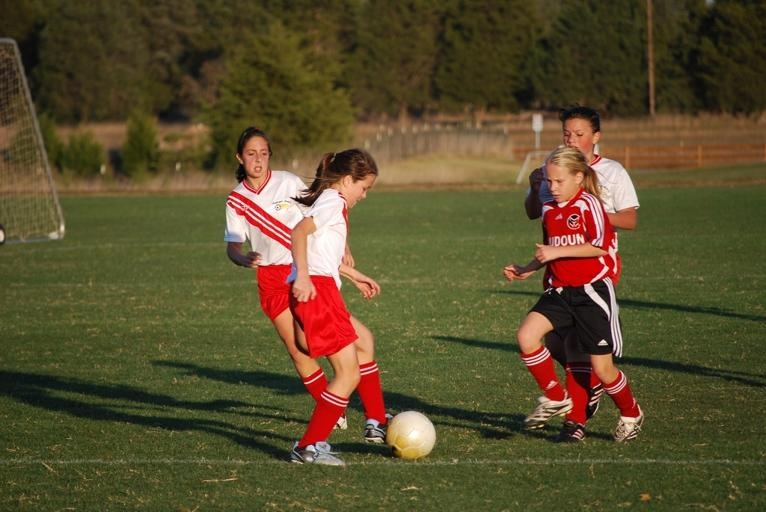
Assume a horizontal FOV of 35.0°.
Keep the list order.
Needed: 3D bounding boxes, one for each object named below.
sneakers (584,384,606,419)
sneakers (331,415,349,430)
[{"bbox_3d":[3.446,2.366,19.754,0.227,0.655,0.264,12,-13,-1],"label":"sneakers"},{"bbox_3d":[-0.677,2.707,19.765,0.284,0.262,0.195,-2,-2,-35],"label":"sneakers"}]
